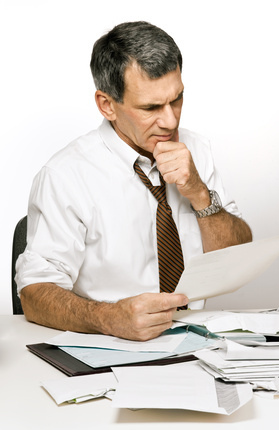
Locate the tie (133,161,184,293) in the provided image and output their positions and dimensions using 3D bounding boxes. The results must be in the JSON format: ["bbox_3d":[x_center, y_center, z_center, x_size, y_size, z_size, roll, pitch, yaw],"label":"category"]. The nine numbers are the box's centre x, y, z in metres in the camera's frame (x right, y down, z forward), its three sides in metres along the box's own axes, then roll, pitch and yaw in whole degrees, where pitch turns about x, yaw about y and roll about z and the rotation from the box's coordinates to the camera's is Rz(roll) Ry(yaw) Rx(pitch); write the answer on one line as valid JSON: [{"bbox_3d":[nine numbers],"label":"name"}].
[{"bbox_3d":[0.065,0.030,1.468,0.138,0.370,0.214,-6,-2,-1],"label":"tie"}]

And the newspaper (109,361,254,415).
[{"bbox_3d":[0.054,0.278,0.662,0.183,0.038,0.215,-2,8,-9],"label":"newspaper"}]

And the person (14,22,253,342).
[{"bbox_3d":[-0.112,-0.151,1.398,0.663,0.784,0.735,-6,-3,25],"label":"person"}]
